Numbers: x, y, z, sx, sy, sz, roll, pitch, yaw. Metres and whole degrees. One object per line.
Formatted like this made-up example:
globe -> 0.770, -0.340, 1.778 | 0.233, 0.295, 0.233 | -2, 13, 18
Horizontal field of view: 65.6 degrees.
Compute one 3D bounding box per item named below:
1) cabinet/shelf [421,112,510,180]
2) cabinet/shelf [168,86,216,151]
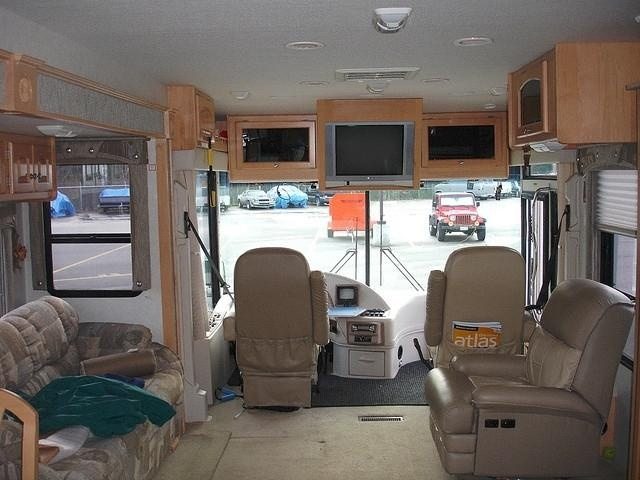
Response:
cabinet/shelf -> 1.730, -0.981, 6.120 | 1.371, 0.998, 0.724 | 0, -3, 3
cabinet/shelf -> -1.136, -1.070, 4.320 | 0.165, 0.350, 0.561 | 0, 9, 1
